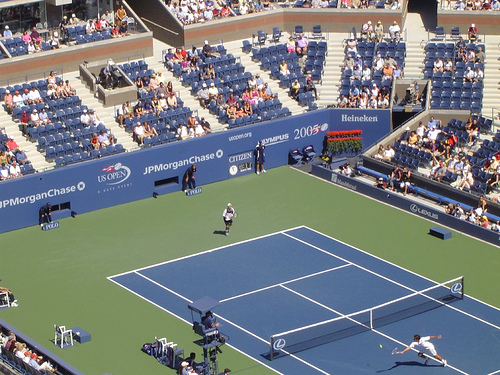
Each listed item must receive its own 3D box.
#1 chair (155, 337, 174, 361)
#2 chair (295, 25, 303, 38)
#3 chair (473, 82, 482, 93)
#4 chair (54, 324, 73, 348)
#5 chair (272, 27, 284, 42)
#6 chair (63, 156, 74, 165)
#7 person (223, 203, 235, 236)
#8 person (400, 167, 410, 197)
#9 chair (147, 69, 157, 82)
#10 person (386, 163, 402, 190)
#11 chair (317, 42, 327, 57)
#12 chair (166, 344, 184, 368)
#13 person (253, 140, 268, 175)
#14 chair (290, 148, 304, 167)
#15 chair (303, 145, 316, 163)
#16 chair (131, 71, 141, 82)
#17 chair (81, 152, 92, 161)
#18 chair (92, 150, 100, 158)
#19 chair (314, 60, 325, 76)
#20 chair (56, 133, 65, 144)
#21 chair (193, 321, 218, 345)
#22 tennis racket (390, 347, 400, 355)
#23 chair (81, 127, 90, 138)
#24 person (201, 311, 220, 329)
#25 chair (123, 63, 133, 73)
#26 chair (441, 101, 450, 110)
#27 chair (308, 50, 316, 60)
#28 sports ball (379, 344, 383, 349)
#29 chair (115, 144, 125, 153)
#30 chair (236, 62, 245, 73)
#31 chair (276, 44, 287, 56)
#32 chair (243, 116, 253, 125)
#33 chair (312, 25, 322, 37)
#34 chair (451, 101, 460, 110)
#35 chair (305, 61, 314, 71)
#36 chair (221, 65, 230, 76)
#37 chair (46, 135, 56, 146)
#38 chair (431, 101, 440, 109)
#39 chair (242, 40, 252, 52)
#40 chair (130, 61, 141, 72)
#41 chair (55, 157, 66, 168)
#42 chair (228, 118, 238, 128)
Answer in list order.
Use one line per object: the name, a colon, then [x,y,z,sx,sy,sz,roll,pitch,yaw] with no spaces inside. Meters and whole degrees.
chair: [-4.555,8.389,69.730,0.829,1.350,0.920,-1,-4,41]
chair: [3.363,-10.689,93.413,0.665,1.140,0.661,0,19,-1]
chair: [15.235,-6.548,89.601,0.587,0.441,0.740,-1,29,10]
chair: [-9.906,7.723,70.385,0.869,1.364,0.904,-10,19,-35]
chair: [1.853,-10.471,93.197,0.723,0.999,0.727,-4,43,-5]
chair: [-11.035,-1.504,80.950,0.369,0.533,0.377,-7,18,-28]
person: [-1.262,1.850,79.175,0.680,2.223,1.391,-7,27,-2]
person: [9.727,-0.174,83.795,0.554,1.329,1.020,0,28,12]
chair: [-6.397,-7.189,87.122,0.578,0.542,1.446,-7,29,-2]
person: [9.051,-0.497,83.864,0.802,1.340,1.136,13,33,33]
chair: [4.958,-9.476,92.313,0.540,0.769,0.578,0,9,6]
chair: [-3.958,8.627,69.300,0.689,0.927,0.670,-9,25,-26]
person: [0.634,-1.752,86.087,0.674,2.270,0.451,-11,27,-11]
chair: [2.935,-1.728,87.818,0.841,1.103,0.749,-15,34,-35]
chair: [3.835,-2.070,88.363,0.508,1.070,0.718,22,31,37]
chair: [-7.427,-7.010,86.829,0.492,0.684,0.571,-3,39,-7]
chair: [-10.002,-1.794,81.480,0.391,0.605,0.419,-8,24,-23]
chair: [-9.414,-1.930,81.655,0.404,0.404,0.190,-9,27,-5]
chair: [4.696,-8.113,91.443,0.545,0.651,0.559,1,12,10]
chair: [-11.599,-2.857,81.683,0.542,0.545,0.320,-19,30,-22]
chair: [-2.303,7.396,69.164,0.959,1.169,1.344,-18,30,-30]
tennis racket: [7.585,8.620,70.314,0.414,0.101,0.233,-31,40,-34]
chair: [-10.137,-3.245,82.374,0.427,0.540,0.531,0,3,-3]
person: [-2.115,6.765,68.879,0.878,0.868,0.689,-9,27,-4]
chair: [-7.970,-7.562,87.318,0.463,0.659,0.530,-16,42,-22]
chair: [13.006,-5.325,89.027,0.442,0.547,0.616,3,-7,3]
chair: [4.236,-8.850,91.978,0.470,0.666,0.515,2,12,9]
sports ball: [6.892,8.421,70.677,0.125,0.089,0.258,1,10,-2]
chair: [-8.014,-2.246,82.302,0.574,0.449,0.640,-21,31,-25]
chair: [-0.667,-7.830,89.626,0.528,0.692,0.596,-1,17,-6]
chair: [2.149,-9.281,91.782,0.783,0.541,0.542,-17,29,-18]
chair: [-0.136,-4.168,86.514,0.491,0.548,0.514,-14,33,-24]
chair: [4.634,-10.736,93.815,0.613,0.894,0.689,0,40,0]
chair: [13.649,-5.260,88.849,0.597,0.335,0.709,-2,29,8]
chair: [4.070,-8.095,91.330,0.538,0.556,0.608,2,29,16]
chair: [-1.636,-7.572,88.983,0.589,0.497,0.519,-8,28,-3]
chair: [-12.153,-2.733,81.507,0.506,0.735,0.542,-21,45,-24]
chair: [12.359,-5.283,89.237,0.401,0.503,0.554,7,-5,3]
chair: [-0.281,-9.466,91.571,0.618,0.885,0.628,-14,24,-30]
chair: [-7.578,-7.679,87.571,0.494,0.709,0.550,-11,29,-23]
chair: [-11.491,-1.402,80.564,0.548,0.817,0.571,-21,42,-27]
chair: [-1.182,-3.956,85.878,0.417,0.794,0.542,-10,26,-21]
